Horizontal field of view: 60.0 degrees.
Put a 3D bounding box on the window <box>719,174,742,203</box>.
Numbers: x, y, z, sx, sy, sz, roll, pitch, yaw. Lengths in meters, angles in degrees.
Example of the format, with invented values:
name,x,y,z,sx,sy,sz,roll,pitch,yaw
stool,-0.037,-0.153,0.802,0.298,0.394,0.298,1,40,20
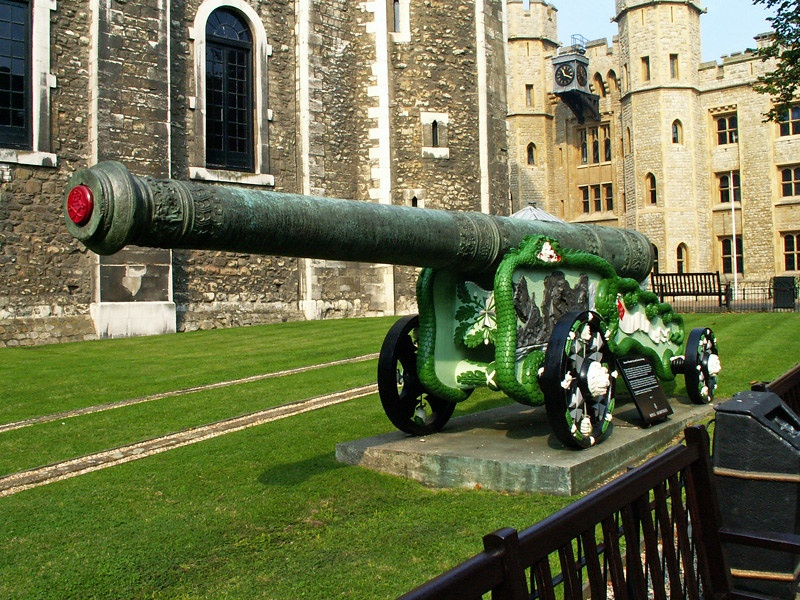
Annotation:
name,x,y,z,sx,sy,sz,roll,pitch,yaw
window,16.903,-5.621,35.316,0.228,1.994,1.448,-5,7,-29

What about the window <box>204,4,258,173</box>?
name,x,y,z,sx,sy,sz,roll,pitch,yaw
window,-4.471,-5.472,18.154,1.477,4.143,0.310,-6,7,-43

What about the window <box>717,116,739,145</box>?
name,x,y,z,sx,sy,sz,roll,pitch,yaw
window,16.787,-8.646,35.339,0.211,1.929,1.343,-5,8,-33

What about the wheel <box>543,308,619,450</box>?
name,x,y,z,sx,sy,sz,roll,pitch,yaw
wheel,1.328,0.607,5.152,0.358,0.936,0.791,-1,-16,39

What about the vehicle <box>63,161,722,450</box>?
name,x,y,z,sx,sy,sz,roll,pitch,yaw
vehicle,0.421,0.197,5.247,5.190,1.992,1.830,-3,0,-38

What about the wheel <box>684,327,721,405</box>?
name,x,y,z,sx,sy,sz,roll,pitch,yaw
wheel,2.941,0.609,6.656,0.189,0.709,0.686,1,6,38
